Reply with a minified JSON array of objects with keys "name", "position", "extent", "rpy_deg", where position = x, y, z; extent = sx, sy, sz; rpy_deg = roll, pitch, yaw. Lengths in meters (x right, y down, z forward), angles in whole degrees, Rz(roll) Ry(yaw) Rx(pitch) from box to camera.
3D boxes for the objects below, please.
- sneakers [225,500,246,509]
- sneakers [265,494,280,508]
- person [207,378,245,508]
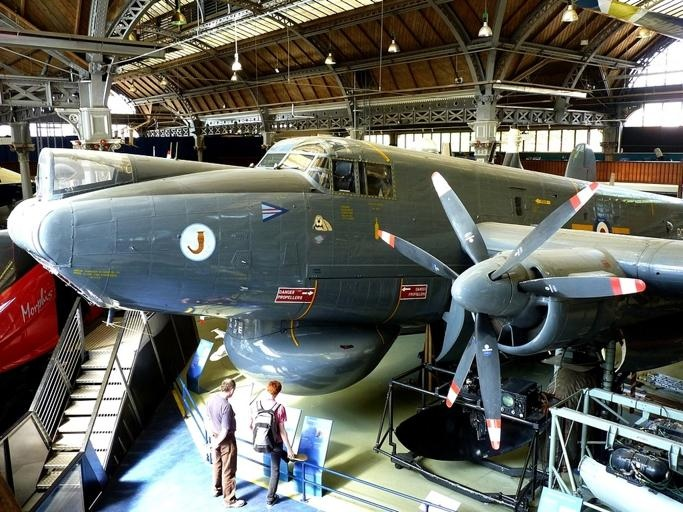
[{"name":"sneakers","position":[-2.100,4.975,9.815],"extent":[0.366,0.134,0.127],"rpy_deg":[-3,7,-8]},{"name":"sneakers","position":[-1.358,4.957,9.888],"extent":[0.123,0.128,0.330],"rpy_deg":[5,10,24]},{"name":"person","position":[-2.301,3.755,9.755],"extent":[0.548,2.560,0.591],"rpy_deg":[-8,11,-26]}]
